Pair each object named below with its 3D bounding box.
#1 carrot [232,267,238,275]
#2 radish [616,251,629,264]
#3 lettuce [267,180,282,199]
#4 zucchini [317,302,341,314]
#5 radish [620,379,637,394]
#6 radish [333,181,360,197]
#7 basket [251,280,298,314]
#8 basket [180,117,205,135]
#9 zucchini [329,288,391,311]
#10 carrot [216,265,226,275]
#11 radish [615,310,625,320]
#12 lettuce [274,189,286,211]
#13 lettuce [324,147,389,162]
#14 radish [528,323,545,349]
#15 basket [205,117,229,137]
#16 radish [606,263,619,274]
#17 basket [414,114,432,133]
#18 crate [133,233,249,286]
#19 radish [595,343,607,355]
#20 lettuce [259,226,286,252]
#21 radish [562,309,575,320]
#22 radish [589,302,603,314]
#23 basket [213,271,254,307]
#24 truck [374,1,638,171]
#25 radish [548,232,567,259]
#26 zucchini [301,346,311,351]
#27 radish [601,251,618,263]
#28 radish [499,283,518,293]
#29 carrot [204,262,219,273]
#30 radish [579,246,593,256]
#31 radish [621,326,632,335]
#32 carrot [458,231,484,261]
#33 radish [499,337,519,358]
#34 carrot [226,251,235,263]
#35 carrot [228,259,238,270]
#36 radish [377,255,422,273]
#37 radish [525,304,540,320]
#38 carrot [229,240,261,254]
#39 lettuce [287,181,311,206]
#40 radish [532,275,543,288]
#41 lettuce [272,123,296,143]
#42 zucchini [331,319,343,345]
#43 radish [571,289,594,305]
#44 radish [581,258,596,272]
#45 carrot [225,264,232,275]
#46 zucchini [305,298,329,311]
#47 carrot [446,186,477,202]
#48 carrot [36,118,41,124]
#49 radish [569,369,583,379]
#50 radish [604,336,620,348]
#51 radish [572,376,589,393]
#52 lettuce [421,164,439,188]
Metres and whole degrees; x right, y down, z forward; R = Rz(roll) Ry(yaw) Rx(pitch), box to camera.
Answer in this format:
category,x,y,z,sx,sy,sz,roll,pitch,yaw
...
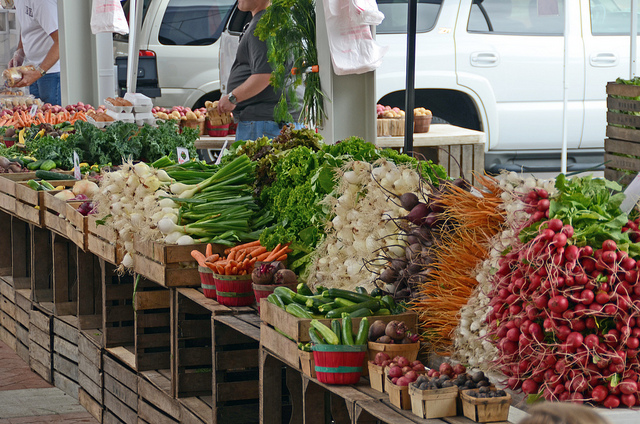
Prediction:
category,x,y,z,sx,sy,sz,roll,pitch,yaw
carrot,-0.492,0.334,4.086,0.029,0.039,0.022,-7,44,1
radish,1.266,0.188,3.016,0.043,0.054,0.044,-2,-6,-3
lettuce,-0.298,-0.141,4.558,0.098,0.075,0.106,15,32,30
zucchini,0.037,0.460,3.553,0.134,0.041,0.043,-13,14,-22
radish,1.284,0.719,3.002,0.050,0.051,0.065,-10,16,-37
radish,0.150,-0.133,4.071,0.140,0.085,0.029,6,7,23
basket,-0.266,0.459,3.957,0.161,0.124,0.165,3,4,38
basket,-1.493,-0.991,8.388,0.209,0.136,0.208,0,1,31
zucchini,0.189,0.436,3.565,0.180,0.051,0.042,17,-8,1
carrot,-0.572,0.329,4.086,0.075,0.024,0.023,44,-16,31
radish,1.252,0.428,2.998,0.038,0.046,0.039,10,-30,0
lettuce,-0.261,-0.079,4.472,0.032,0.134,0.095,-2,8,-36
lettuce,0.242,-0.339,4.274,0.168,0.074,0.169,-3,-4,36
radish,0.919,0.516,3.047,0.034,0.082,0.035,-40,-33,28
basket,-1.228,-1.004,8.454,0.240,0.170,0.222,2,7,16
radish,1.228,0.236,3.007,0.051,0.047,0.023,5,7,18
basket,1.093,-0.935,7.595,0.225,0.194,0.118,-1,8,-31
crate,-1.185,0.288,4.548,0.519,0.166,0.371,8,-1,-3
radish,1.177,0.568,2.988,0.033,0.044,0.025,1,-28,1
lettuce,-0.293,0.159,4.343,0.101,0.148,0.146,16,15,11
radish,1.038,0.424,2.999,0.044,0.033,0.033,-20,-17,30
radish,1.150,0.391,2.986,0.044,0.037,0.038,-26,-31,0
basket,-0.501,0.445,4.121,0.236,0.186,0.078,2,7,-10
truck,2.822,-1.670,9.406,3.869,2.203,2.149,-5,7,-4
radish,1.014,0.125,3.031,0.040,0.071,0.034,16,3,33
zucchini,-0.069,0.647,3.414,0.025,0.017,0.023,-3,-3,27
radish,1.209,0.185,3.001,0.048,0.047,0.057,31,-17,37
radish,0.839,0.331,3.154,0.019,0.048,0.072,0,7,-22
carrot,-0.630,0.318,4.140,0.031,0.106,0.031,-46,-2,-28
radish,1.124,0.164,3.034,0.036,0.036,0.042,11,21,-8
radish,1.276,0.490,2.980,0.028,0.029,0.028,2,5,-43
carrot,0.771,0.169,3.570,0.033,0.193,0.054,-48,6,-26
radish,0.823,0.585,3.124,0.056,0.076,0.057,18,34,-38
carrot,-0.529,0.259,4.196,0.028,0.059,0.020,17,-22,25
carrot,-0.508,0.300,4.117,0.028,0.058,0.019,3,-15,-16
radish,0.432,0.266,3.701,0.214,0.068,0.047,9,9,42
radish,0.906,0.428,3.062,0.061,0.048,0.047,-19,-15,32
carrot,-0.466,0.211,4.349,0.161,0.023,0.032,-17,-22,0
lettuce,-0.139,-0.111,4.336,0.147,0.090,0.124,-32,25,-29
radish,0.923,0.294,3.056,0.047,0.038,0.035,-31,29,3
lettuce,-0.257,-0.559,5.012,0.160,0.087,0.165,-3,-7,36
zucchini,0.083,0.566,3.392,0.035,0.127,0.037,0,-16,-7
radish,1.098,0.358,3.014,0.094,0.041,0.044,15,-9,-2
radish,1.132,0.221,3.024,0.052,0.063,0.053,3,5,5
carrot,-0.525,0.324,4.076,0.029,0.058,0.019,-13,7,-18
zucchini,-0.015,0.454,3.559,0.093,0.031,0.046,13,11,-5
carrot,0.712,-0.089,3.613,0.042,0.053,0.199,-1,7,-28
carrot,-3.246,-1.041,8.219,0.031,0.042,0.162,-6,41,-30
radish,1.069,0.673,2.999,0.034,0.044,0.025,45,-8,16
radish,1.222,0.541,2.994,0.040,0.049,0.041,-4,8,3
radish,1.085,0.719,2.997,0.063,0.076,0.063,1,-6,-34
lettuce,0.643,-0.207,4.094,0.129,0.052,0.098,24,-10,-26
